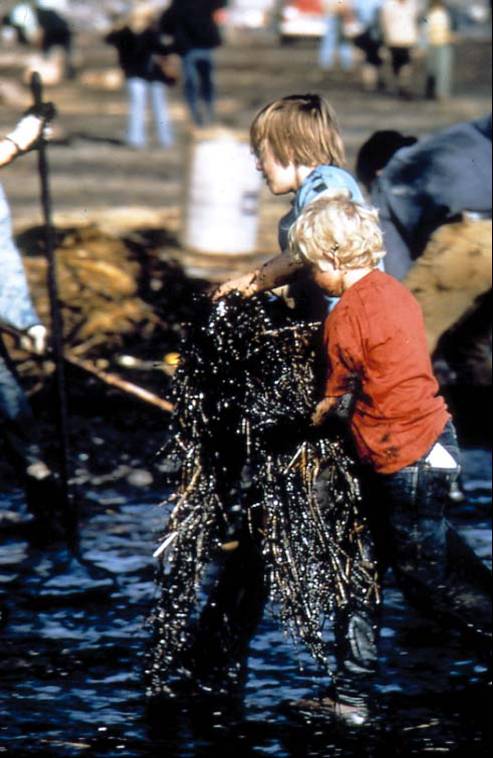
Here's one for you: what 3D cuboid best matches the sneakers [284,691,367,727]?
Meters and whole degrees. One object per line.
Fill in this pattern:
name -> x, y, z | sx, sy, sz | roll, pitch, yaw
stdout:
sneakers -> 0.235, 0.974, 3.991 | 0.176, 0.037, 0.093 | 5, -2, 17

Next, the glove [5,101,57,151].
glove -> -0.682, -0.806, 4.350 | 0.189, 0.070, 0.111 | -46, 51, -8

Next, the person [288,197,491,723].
person -> 0.411, 0.170, 3.880 | 0.619, 1.357, 0.254 | 5, 21, 16

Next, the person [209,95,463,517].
person -> 0.369, -0.461, 4.750 | 0.666, 1.653, 0.590 | -8, -7, 6
